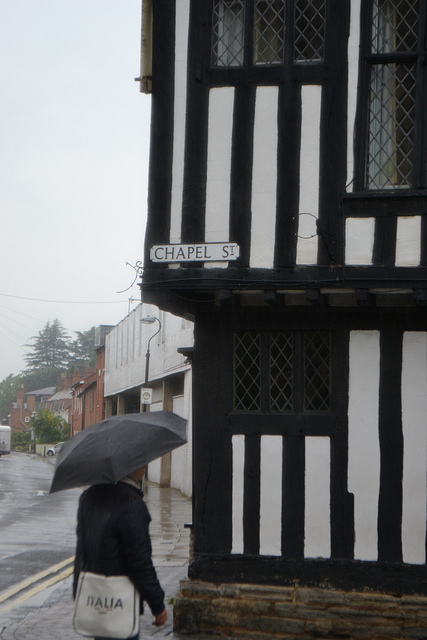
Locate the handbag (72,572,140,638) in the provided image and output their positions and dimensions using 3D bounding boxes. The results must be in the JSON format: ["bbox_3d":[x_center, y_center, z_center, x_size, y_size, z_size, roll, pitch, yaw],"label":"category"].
[{"bbox_3d":[-0.667,1.818,7.002,0.321,0.397,0.146,-1,-9,12],"label":"handbag"}]
